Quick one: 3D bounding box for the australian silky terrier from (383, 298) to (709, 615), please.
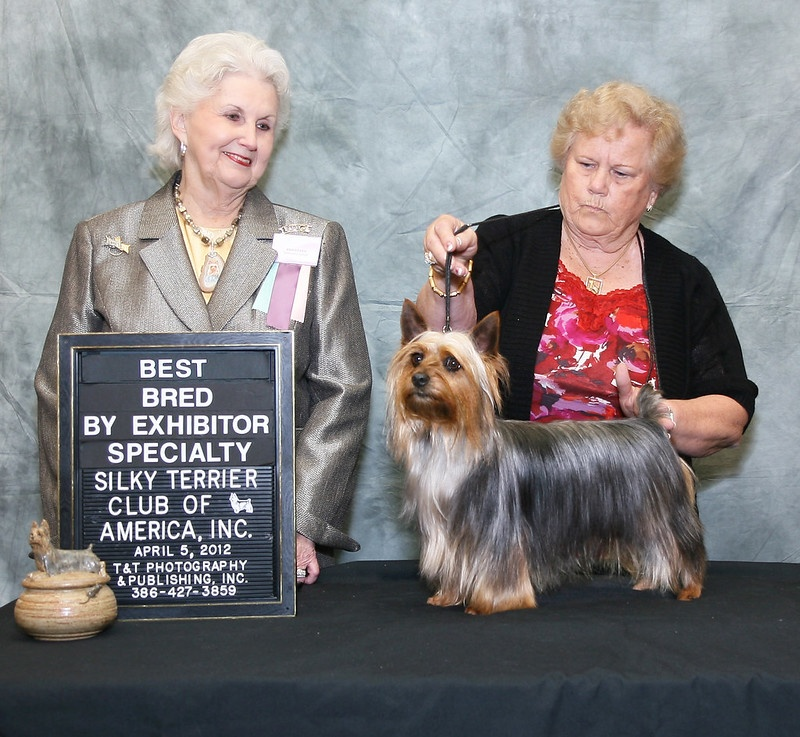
[{"bbox_3d":[0.434,0.295,3.394,1.192,0.866,0.396,4,1,-33],"label":"australian silky terrier"}]

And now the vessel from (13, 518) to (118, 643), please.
[{"bbox_3d":[-0.832,0.562,2.854,0.300,0.306,0.310,0,0,-10],"label":"vessel"}]

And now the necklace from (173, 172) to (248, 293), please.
[{"bbox_3d":[-0.639,-0.445,3.669,0.221,0.386,0.065,1,-20,-4],"label":"necklace"}]

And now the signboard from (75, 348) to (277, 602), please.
[{"bbox_3d":[-0.625,0.314,2.934,0.713,0.796,0.060,-2,-7,-3],"label":"signboard"}]

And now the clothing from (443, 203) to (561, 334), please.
[{"bbox_3d":[0.367,-0.328,3.833,0.053,0.325,0.523,4,-7,-43],"label":"clothing"}]

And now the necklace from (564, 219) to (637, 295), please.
[{"bbox_3d":[0.729,-0.397,3.954,0.232,0.261,0.037,18,-10,4],"label":"necklace"}]
